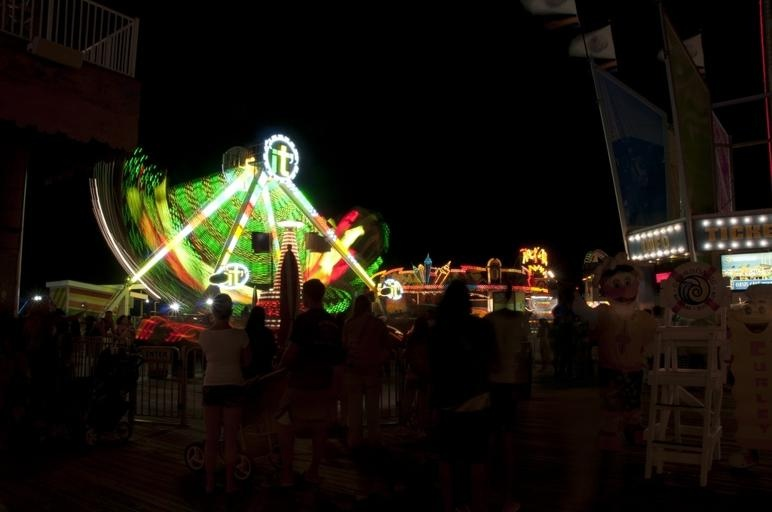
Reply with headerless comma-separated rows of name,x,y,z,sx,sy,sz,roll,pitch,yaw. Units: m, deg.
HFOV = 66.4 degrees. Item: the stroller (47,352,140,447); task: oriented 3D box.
stroller,-5.295,2.560,10.808,1.430,1.753,0.771,1,-2,-20
